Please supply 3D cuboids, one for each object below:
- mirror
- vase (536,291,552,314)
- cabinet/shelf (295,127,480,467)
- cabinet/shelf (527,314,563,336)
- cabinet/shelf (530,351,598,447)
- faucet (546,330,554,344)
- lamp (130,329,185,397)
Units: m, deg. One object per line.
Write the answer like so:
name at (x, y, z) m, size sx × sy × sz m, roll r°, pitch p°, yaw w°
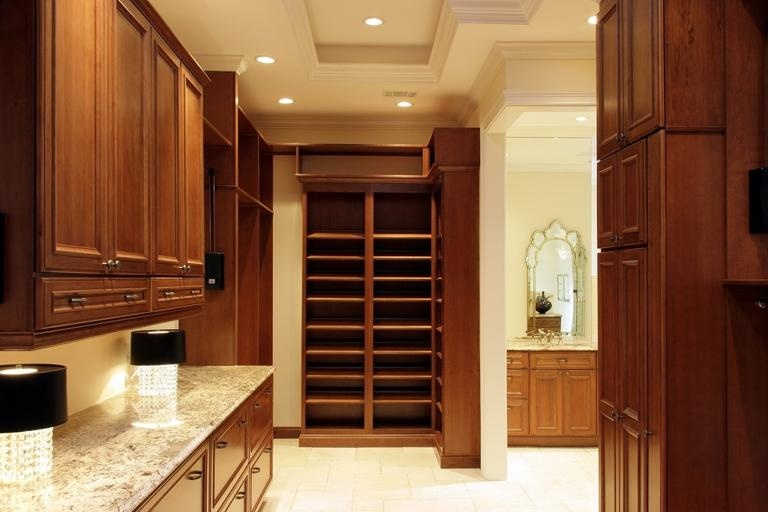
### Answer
mirror at (1.844, 0.162, 6.230) m, size 0.643 × 1.488 × 0.063 m, roll -13°, pitch -56°, yaw 31°
vase at (1.700, 0.505, 6.091) m, size 0.192 × 0.250 × 0.193 m, roll 1°, pitch 3°, yaw 10°
cabinet/shelf at (0.092, 0.328, 5.681) m, size 2.062 × 3.185 × 0.959 m, roll 7°, pitch 7°, yaw 20°
cabinet/shelf at (1.727, 0.732, 6.103) m, size 0.353 × 0.330 × 0.212 m, roll 0°, pitch -6°, yaw 0°
cabinet/shelf at (1.731, 1.375, 5.731) m, size 0.696 × 0.895 × 0.500 m, roll 1°, pitch -6°, yaw 1°
faucet at (1.727, 0.841, 5.910) m, size 0.091 × 0.086 × 0.027 m, roll 0°, pitch 2°, yaw -31°
lamp at (-1.430, 0.660, 3.558) m, size 0.368 × 0.419 × 0.369 m, roll 1°, pitch -4°, yaw 22°
